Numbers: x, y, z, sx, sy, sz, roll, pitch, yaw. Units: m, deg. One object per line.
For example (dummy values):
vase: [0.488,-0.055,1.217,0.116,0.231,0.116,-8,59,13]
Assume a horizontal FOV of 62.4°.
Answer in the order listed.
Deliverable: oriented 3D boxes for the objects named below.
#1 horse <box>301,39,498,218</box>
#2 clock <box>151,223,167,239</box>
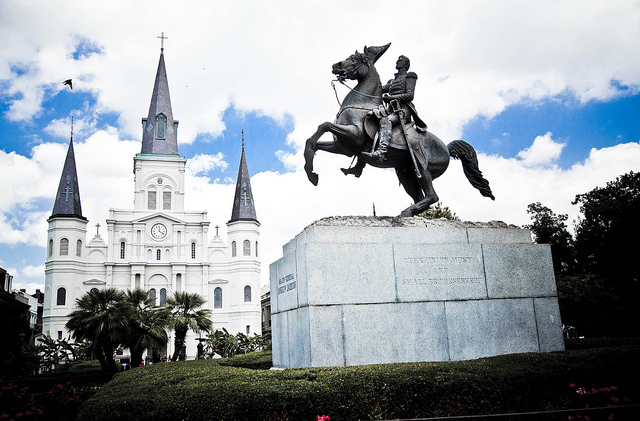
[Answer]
horse: [2.592,-2.326,15.886,6.068,5.089,1.797,10,-13,-14]
clock: [-20.804,2.623,67.279,1.905,1.805,1.855,5,-8,-8]
